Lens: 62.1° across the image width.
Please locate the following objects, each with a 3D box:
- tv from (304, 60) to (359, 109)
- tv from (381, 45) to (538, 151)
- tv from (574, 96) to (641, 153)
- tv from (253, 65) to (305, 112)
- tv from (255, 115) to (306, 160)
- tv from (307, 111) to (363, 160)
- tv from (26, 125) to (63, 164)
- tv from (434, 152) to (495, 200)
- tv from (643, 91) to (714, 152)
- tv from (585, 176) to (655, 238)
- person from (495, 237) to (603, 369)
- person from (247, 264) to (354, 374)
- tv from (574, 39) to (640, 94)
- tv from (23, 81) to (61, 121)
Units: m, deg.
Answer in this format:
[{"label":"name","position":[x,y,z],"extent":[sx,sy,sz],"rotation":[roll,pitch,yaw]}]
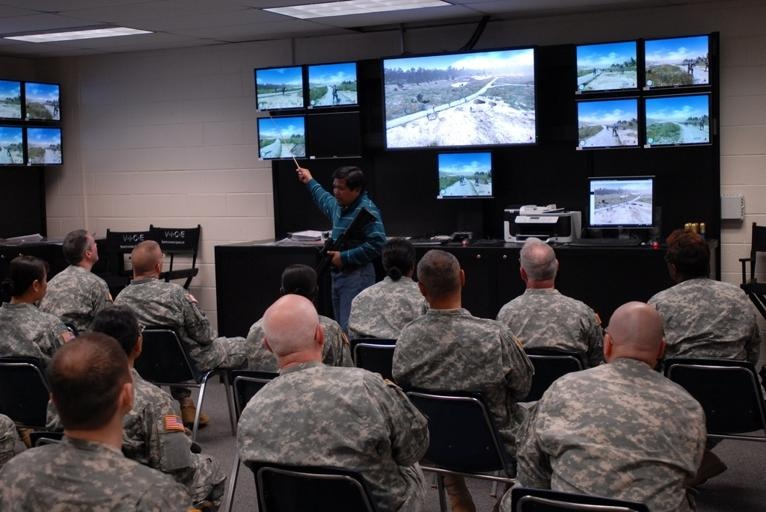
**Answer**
[{"label":"tv","position":[-0.531,-1.786,6.677],"extent":[0.566,0.429,0.025],"rotation":[1,6,20]},{"label":"tv","position":[0.797,-1.550,6.278],"extent":[1.170,0.649,0.047],"rotation":[1,9,18]},{"label":"tv","position":[2.120,-1.245,5.954],"extent":[0.567,0.428,0.022],"rotation":[1,7,23]},{"label":"tv","position":[-1.118,-1.790,6.861],"extent":[0.028,0.455,0.681],"rotation":[17,26,38]},{"label":"tv","position":[-1.113,-1.288,6.987],"extent":[0.724,0.481,0.024],"rotation":[3,6,30]},{"label":"tv","position":[-0.512,-1.279,6.765],"extent":[0.599,0.470,0.059],"rotation":[1,5,21]},{"label":"tv","position":[-4.221,-1.357,7.858],"extent":[0.048,0.473,0.507],"rotation":[11,12,22]},{"label":"tv","position":[0.841,-0.815,6.408],"extent":[0.522,0.412,0.036],"rotation":[0,-1,12]},{"label":"tv","position":[2.698,-1.238,5.831],"extent":[0.024,0.478,0.673],"rotation":[-17,16,-34]},{"label":"tv","position":[2.184,-0.460,5.813],"extent":[0.618,0.552,0.202],"rotation":[1,2,21]},{"label":"person","position":[0.960,0.413,3.883],"extent":[0.736,1.051,0.570],"rotation":[-3,21,8]},{"label":"person","position":[-0.464,0.360,3.909],"extent":[0.748,0.606,0.380],"rotation":[3,14,8]},{"label":"tv","position":[2.082,-1.729,5.856],"extent":[0.562,0.395,0.026],"rotation":[2,9,27]},{"label":"tv","position":[-4.200,-1.873,7.780],"extent":[0.048,0.439,0.489],"rotation":[16,17,24]}]
